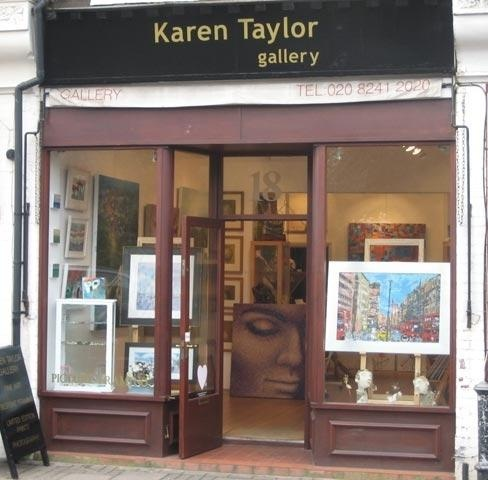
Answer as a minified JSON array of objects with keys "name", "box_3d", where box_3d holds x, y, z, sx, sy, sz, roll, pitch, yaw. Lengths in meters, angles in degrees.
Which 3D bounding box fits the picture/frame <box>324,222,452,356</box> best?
[{"name":"picture/frame","box_3d":[1.360,0.520,7.637,0.990,0.894,0.023,1,-7,6]}]

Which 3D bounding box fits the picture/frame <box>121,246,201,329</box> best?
[{"name":"picture/frame","box_3d":[-0.784,0.493,7.993,0.596,0.746,0.030,8,1,23]}]

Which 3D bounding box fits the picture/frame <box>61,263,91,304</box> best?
[{"name":"picture/frame","box_3d":[-1.719,0.467,8.260,0.315,0.454,0.027,3,-6,-20]}]
